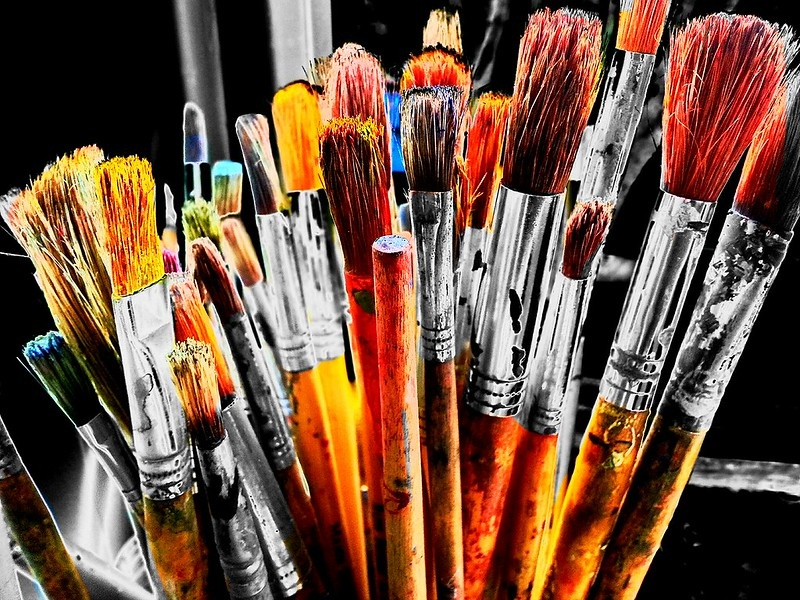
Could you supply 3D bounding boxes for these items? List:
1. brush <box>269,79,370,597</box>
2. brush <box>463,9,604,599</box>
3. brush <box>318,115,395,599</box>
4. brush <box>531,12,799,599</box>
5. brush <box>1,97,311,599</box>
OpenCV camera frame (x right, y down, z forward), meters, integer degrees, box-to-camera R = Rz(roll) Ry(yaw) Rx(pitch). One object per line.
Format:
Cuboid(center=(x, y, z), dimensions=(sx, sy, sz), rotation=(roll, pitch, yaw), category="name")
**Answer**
Cuboid(center=(-0.082, 0.096, 1.094), dimensions=(0.090, 0.765, 0.060), rotation=(-2, 8, 18), category="brush")
Cuboid(center=(0.137, 0.027, 0.985), dimensions=(0.102, 0.655, 0.201), rotation=(8, 26, 13), category="brush")
Cuboid(center=(-0.043, 0.066, 0.981), dimensions=(0.063, 0.538, 0.083), rotation=(0, 9, 4), category="brush")
Cuboid(center=(0.294, -0.042, 1.023), dimensions=(0.163, 0.788, 0.156), rotation=(15, 5, 6), category="brush")
Cuboid(center=(-0.271, 0.090, 0.983), dimensions=(0.197, 0.492, 0.340), rotation=(-22, 35, -40), category="brush")
